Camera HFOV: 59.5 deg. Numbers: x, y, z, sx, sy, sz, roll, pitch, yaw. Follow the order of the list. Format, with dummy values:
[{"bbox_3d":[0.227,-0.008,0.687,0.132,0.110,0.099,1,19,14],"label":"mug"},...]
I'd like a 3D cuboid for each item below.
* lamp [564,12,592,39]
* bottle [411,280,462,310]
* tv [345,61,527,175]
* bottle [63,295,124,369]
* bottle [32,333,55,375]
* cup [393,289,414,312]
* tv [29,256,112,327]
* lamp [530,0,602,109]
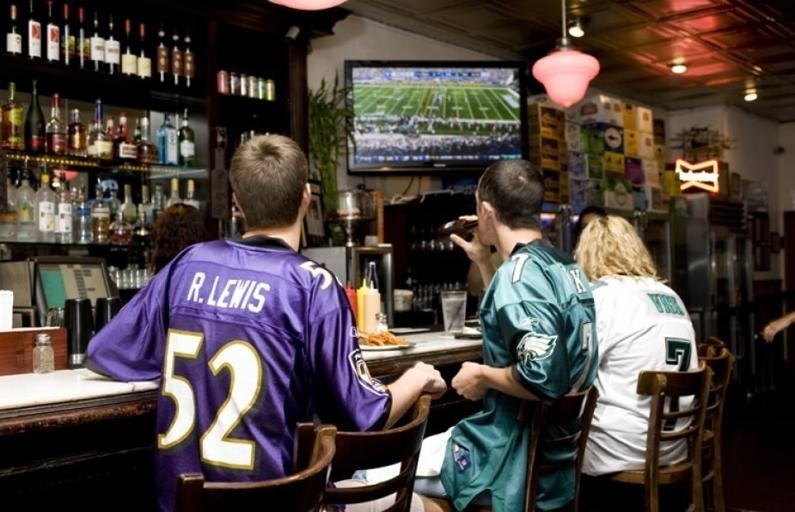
[{"bbox_3d":[1.781,-2.323,7.056,0.285,0.276,0.242,9,9,38],"label":"lamp"},{"bbox_3d":[0.341,0.363,6.576,0.381,0.152,0.279,0,0,-17],"label":"bottle"},{"bbox_3d":[0.293,-1.356,6.824,1.611,0.944,0.121,-1,0,-17],"label":"tv"},{"bbox_3d":[-1.419,0.367,3.241,0.311,0.281,0.112,-1,-5,7],"label":"bottle"},{"bbox_3d":[-1.658,0.453,3.256,0.091,0.185,0.079,-3,3,-29],"label":"bottle"},{"bbox_3d":[0.054,0.379,5.979,0.177,0.121,0.180,2,3,0],"label":"cup"},{"bbox_3d":[-1.823,0.222,3.931,0.243,0.429,0.456,4,5,37],"label":"tv"},{"bbox_3d":[1.321,-1.478,5.483,0.492,0.540,0.255,-1,3,12],"label":"lamp"}]
